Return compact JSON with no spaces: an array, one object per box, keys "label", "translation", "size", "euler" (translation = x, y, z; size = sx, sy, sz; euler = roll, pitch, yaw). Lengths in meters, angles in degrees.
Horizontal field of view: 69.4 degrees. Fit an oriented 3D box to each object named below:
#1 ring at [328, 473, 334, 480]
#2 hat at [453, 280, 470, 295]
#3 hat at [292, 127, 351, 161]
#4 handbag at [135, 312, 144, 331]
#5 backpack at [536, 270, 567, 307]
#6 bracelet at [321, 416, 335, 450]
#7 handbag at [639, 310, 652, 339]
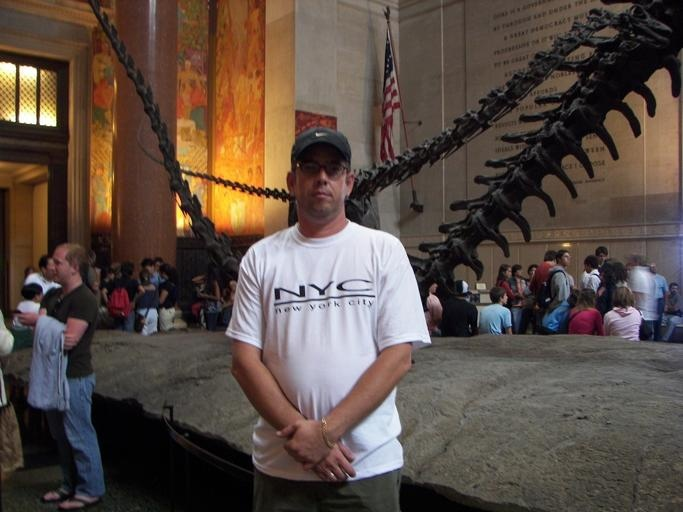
[{"label":"ring","translation":[-0.036,0.801,1.780],"size":[0.018,0.014,0.005],"euler":[31,-19,-4]},{"label":"hat","translation":[1.419,0.378,5.867],"size":[0.209,0.143,0.354],"euler":[-1,1,1]},{"label":"hat","translation":[-0.074,-0.468,2.057],"size":[0.202,0.135,0.302],"euler":[0,35,-2]},{"label":"handbag","translation":[-3.395,1.108,8.335],"size":[0.146,0.334,0.205],"euler":[7,-16,-33]},{"label":"backpack","translation":[2.809,0.433,6.587],"size":[0.209,0.428,0.395],"euler":[22,-4,5]},{"label":"bracelet","translation":[-0.050,0.637,1.757],"size":[0.060,0.091,0.019],"euler":[8,-16,-39]},{"label":"handbag","translation":[3.753,0.861,6.088],"size":[0.140,0.427,0.383],"euler":[-1,9,33]}]
